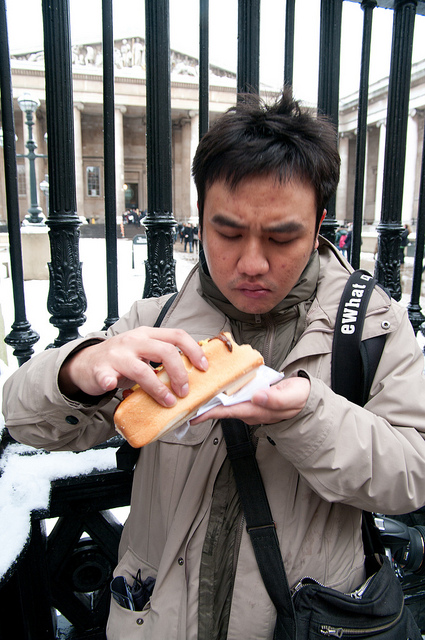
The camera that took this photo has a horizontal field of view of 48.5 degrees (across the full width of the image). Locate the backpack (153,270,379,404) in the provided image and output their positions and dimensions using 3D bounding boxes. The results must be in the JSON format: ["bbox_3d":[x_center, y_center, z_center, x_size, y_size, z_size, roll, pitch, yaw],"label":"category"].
[{"bbox_3d":[0.260,0.026,1.336,0.317,0.273,0.376,11,16,42],"label":"backpack"}]

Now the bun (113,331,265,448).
[{"bbox_3d":[-0.018,0.157,1.082,0.365,0.112,0.182,-36,19,-20],"label":"bun"}]
